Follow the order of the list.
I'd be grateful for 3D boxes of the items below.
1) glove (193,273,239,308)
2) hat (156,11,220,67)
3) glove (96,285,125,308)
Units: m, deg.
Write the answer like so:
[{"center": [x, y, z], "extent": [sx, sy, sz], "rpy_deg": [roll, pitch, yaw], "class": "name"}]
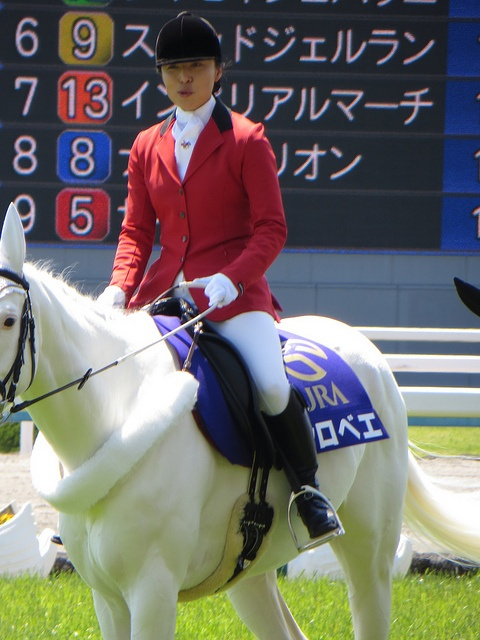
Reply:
[{"center": [-0.066, -0.089, 4.300], "extent": [0.090, 0.137, 0.066], "rpy_deg": [1, 0, 8], "class": "glove"}, {"center": [-0.173, -0.927, 4.450], "extent": [0.157, 0.132, 0.191], "rpy_deg": [-1, 16, 2], "class": "hat"}, {"center": [-0.435, -0.071, 4.520], "extent": [0.072, 0.083, 0.067], "rpy_deg": [-18, 30, -41], "class": "glove"}]
